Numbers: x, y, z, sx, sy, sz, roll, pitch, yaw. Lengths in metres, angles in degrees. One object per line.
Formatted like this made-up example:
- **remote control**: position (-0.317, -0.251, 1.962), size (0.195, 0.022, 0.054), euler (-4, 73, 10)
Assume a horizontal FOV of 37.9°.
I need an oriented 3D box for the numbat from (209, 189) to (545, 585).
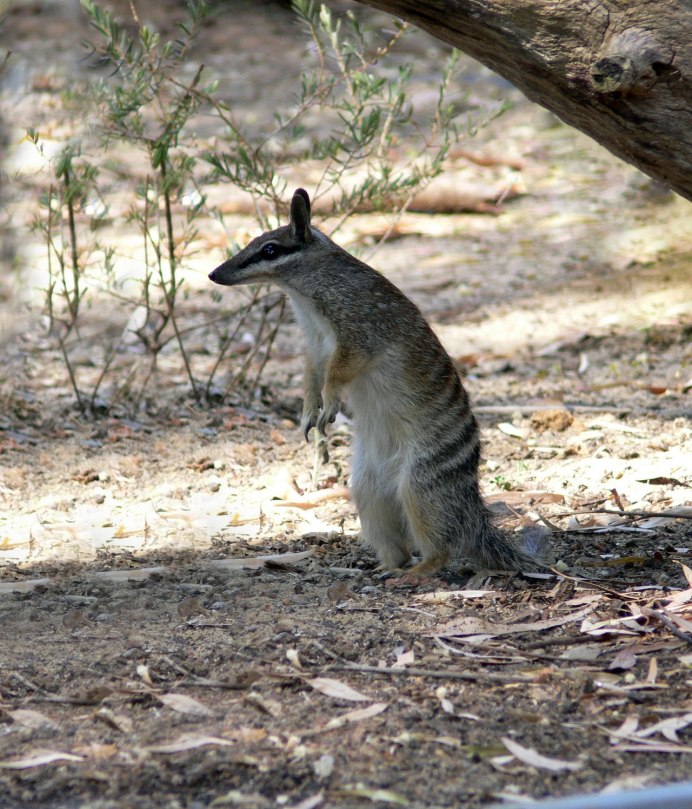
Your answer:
- **numbat**: position (0.165, -0.095, 4.357), size (1.293, 1.676, 0.530), euler (5, 17, 35)
